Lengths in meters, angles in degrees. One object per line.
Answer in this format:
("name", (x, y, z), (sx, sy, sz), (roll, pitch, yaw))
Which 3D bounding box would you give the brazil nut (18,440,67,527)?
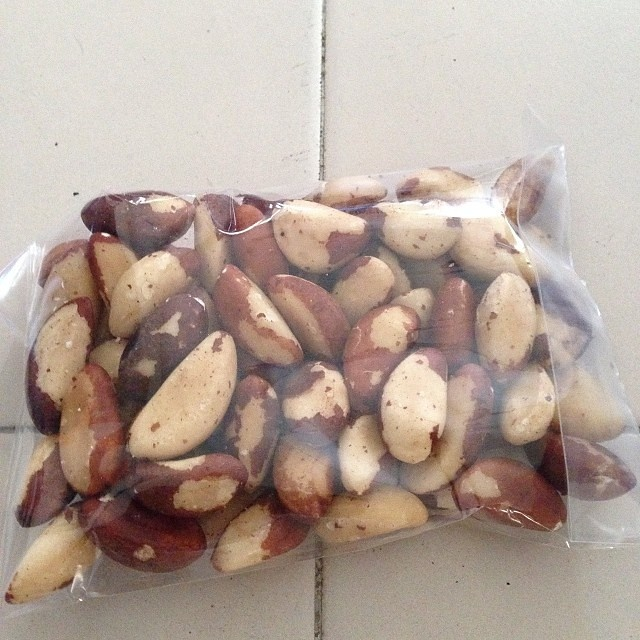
("brazil nut", (-0.226, 0.129, 0.679), (0.049, 0.024, 0.071), (7, 95, 40))

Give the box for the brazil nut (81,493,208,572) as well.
("brazil nut", (-0.143, 0.170, 0.668), (0.088, 0.030, 0.057), (20, 99, -14))

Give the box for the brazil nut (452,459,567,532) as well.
("brazil nut", (0.159, 0.144, 0.701), (0.087, 0.034, 0.059), (21, 88, -22))

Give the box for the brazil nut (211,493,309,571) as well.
("brazil nut", (-0.049, 0.177, 0.711), (0.087, 0.017, 0.053), (-31, 96, 5))

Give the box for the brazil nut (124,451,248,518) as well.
("brazil nut", (-0.104, 0.132, 0.647), (0.080, 0.028, 0.049), (-3, 99, 0))

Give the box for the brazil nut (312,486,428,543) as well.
("brazil nut", (0.041, 0.162, 0.685), (0.082, 0.049, 0.030), (-9, 49, 6))
